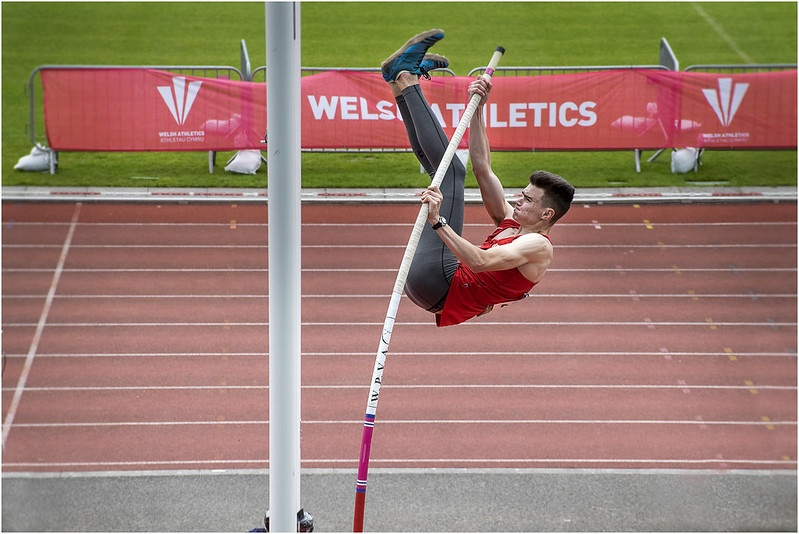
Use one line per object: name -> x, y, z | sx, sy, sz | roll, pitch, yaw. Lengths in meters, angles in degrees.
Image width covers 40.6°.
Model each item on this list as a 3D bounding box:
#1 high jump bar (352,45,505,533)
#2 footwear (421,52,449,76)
high jump bar -> 0.245, 0.761, 13.659 | 2.219, 6.898, 4.164 | -1, 22, 4
footwear -> 0.428, -2.478, 13.296 | 0.202, 0.216, 0.547 | -1, 3, 14
